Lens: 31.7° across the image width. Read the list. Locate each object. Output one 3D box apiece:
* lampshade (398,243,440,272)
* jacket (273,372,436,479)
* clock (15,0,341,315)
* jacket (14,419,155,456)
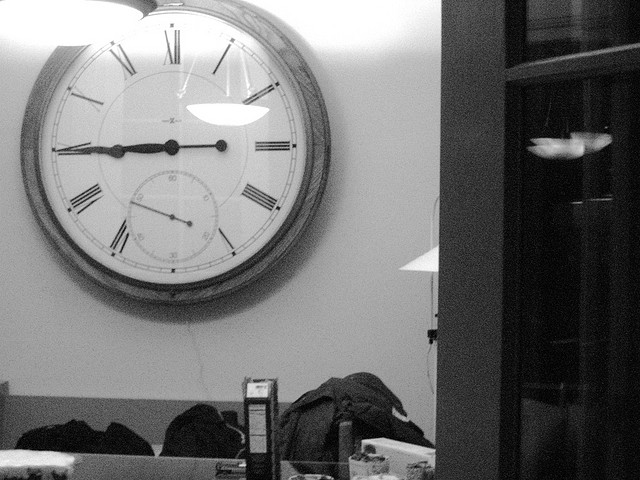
[{"bbox_3d":[0.281,0.054,3.199,0.088,0.087,0.090,-4,-11,23],"label":"lampshade"},{"bbox_3d":[0.103,0.553,3.330,0.356,0.341,0.113,-2,-53,33],"label":"jacket"},{"bbox_3d":[-0.387,-0.271,3.416,1.041,0.954,0.101,0,4,8],"label":"clock"},{"bbox_3d":[-0.724,0.614,3.464,0.425,0.109,0.054,-3,-40,0],"label":"jacket"}]
